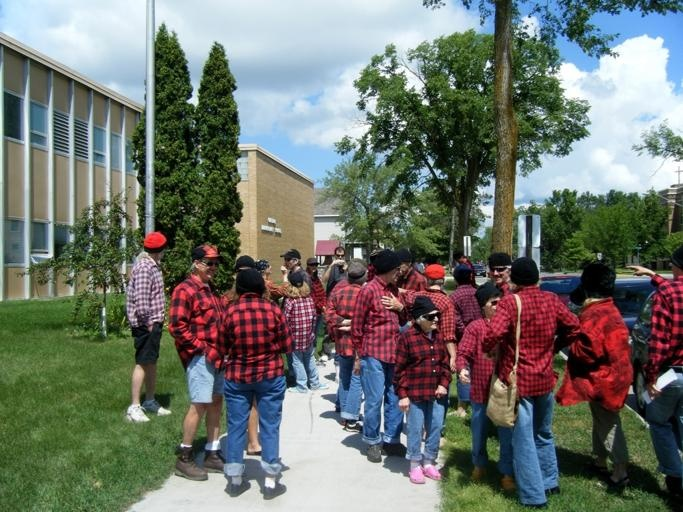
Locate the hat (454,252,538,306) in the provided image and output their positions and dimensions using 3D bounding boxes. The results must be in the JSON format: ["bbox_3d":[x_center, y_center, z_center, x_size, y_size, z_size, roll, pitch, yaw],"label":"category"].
[{"bbox_3d":[2.165,0.230,8.041,0.571,0.805,0.402,18,2,19],"label":"hat"}]

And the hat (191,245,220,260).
[{"bbox_3d":[-1.831,-0.042,7.876,0.261,0.151,0.202,-4,2,-6],"label":"hat"}]

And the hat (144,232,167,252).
[{"bbox_3d":[-2.847,-0.223,9.056,0.247,0.186,0.339,6,15,-10],"label":"hat"}]

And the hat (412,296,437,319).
[{"bbox_3d":[1.054,0.641,7.601,0.221,0.248,0.318,-5,-17,-7],"label":"hat"}]

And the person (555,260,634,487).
[{"bbox_3d":[3.211,1.493,7.470,0.809,2.788,0.682,-2,6,-33],"label":"person"}]

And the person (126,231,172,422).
[{"bbox_3d":[-3.036,1.081,9.221,0.659,2.918,0.737,-1,5,-21],"label":"person"}]

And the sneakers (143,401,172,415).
[{"bbox_3d":[-2.974,2.421,9.504,0.450,0.216,0.211,10,-5,-3],"label":"sneakers"}]

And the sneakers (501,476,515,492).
[{"bbox_3d":[2.071,2.844,7.370,0.092,0.196,0.189,4,-18,3],"label":"sneakers"}]

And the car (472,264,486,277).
[{"bbox_3d":[11.330,1.212,48.862,1.254,1.023,2.892,1,8,11],"label":"car"}]

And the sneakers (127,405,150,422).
[{"bbox_3d":[-3.146,2.413,9.079,0.404,0.206,0.176,4,-3,6],"label":"sneakers"}]

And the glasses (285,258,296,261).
[{"bbox_3d":[-1.056,0.053,12.015,0.135,0.050,0.098,1,0,-28],"label":"glasses"}]

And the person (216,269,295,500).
[{"bbox_3d":[-1.073,1.551,7.231,0.845,2.773,0.410,0,5,-12],"label":"person"}]

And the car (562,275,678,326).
[{"bbox_3d":[4.292,0.685,8.996,1.757,0.984,1.059,2,-4,-9],"label":"car"}]
